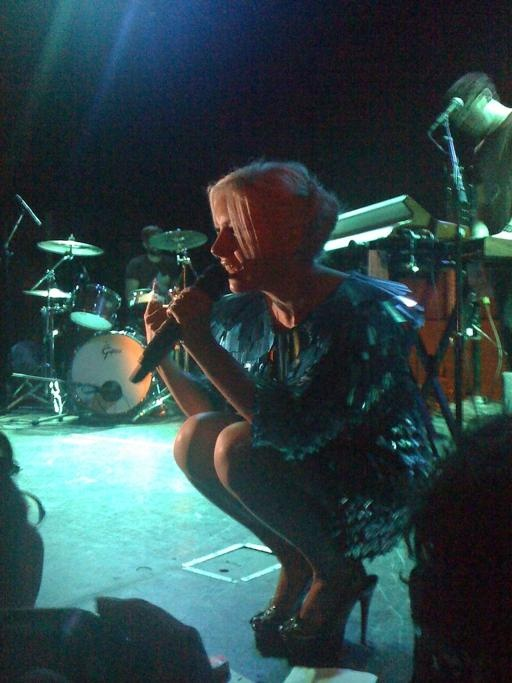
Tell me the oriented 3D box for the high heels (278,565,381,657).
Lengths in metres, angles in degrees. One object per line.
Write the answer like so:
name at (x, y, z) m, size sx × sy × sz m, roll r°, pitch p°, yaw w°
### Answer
high heels at (0.138, 0.501, 1.167) m, size 0.196 × 0.113 × 0.094 m, roll -5°, pitch -4°, yaw -19°

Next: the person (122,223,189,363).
person at (-0.757, -0.488, 5.092) m, size 0.513 × 0.733 × 0.538 m, roll -7°, pitch -10°, yaw 35°

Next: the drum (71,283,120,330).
drum at (-1.114, -0.237, 4.439) m, size 0.326 × 0.331 × 0.485 m, roll 0°, pitch 1°, yaw -15°

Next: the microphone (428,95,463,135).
microphone at (0.805, -0.938, 2.656) m, size 0.272 × 0.068 × 0.079 m, roll -36°, pitch 14°, yaw -36°

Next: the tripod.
tripod at (-1.658, 0.173, 4.814) m, size 0.407 × 0.690 × 0.953 m, roll 0°, pitch 1°, yaw -21°

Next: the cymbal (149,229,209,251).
cymbal at (-0.560, -0.733, 4.815) m, size 0.303 × 0.108 × 0.295 m, roll 18°, pitch -33°, yaw -41°

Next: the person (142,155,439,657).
person at (0.080, 0.147, 1.334) m, size 0.587 × 0.909 × 0.478 m, roll 3°, pitch -2°, yaw -26°
